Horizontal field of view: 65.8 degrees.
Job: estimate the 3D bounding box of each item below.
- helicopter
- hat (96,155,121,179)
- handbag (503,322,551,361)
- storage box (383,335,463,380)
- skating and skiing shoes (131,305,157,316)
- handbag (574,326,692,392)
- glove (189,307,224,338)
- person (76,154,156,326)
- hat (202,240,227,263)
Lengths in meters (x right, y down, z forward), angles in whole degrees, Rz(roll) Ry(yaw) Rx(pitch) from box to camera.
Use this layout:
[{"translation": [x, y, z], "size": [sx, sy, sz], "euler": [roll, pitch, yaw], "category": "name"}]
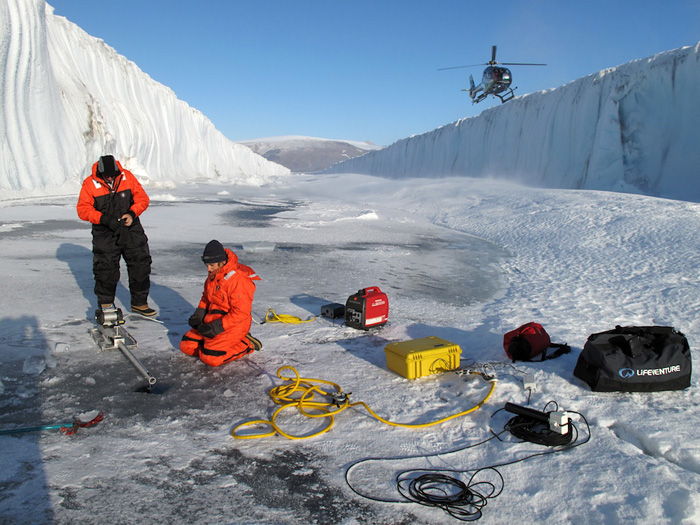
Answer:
[{"translation": [4.438, -5.794, 17.363], "size": [3.255, 0.922, 3.147], "euler": [-2, 4, -9], "category": "helicopter"}, {"translation": [-2.554, -0.995, 5.693], "size": [0.230, 0.243, 0.291], "euler": [-3, 12, -19], "category": "hat"}, {"translation": [1.719, 0.763, 5.165], "size": [0.465, 0.323, 0.269], "euler": [2, 12, 1], "category": "handbag"}, {"translation": [0.586, 0.808, 4.947], "size": [0.657, 0.187, 0.423], "euler": [-4, 6, -25], "category": "storage box"}, {"translation": [-2.375, 0.539, 6.116], "size": [0.354, 0.095, 0.114], "euler": [5, 11, 13], "category": "skating and skiing shoes"}, {"translation": [2.412, 0.830, 4.529], "size": [0.980, 0.230, 0.536], "euler": [-7, 20, 8], "category": "handbag"}, {"translation": [-1.350, 0.567, 5.028], "size": [0.278, 0.120, 0.345], "euler": [15, 8, -39], "category": "glove"}, {"translation": [-2.503, -0.260, 5.849], "size": [0.755, 1.745, 0.556], "euler": [-8, 17, -35], "category": "person"}, {"translation": [-1.256, -0.082, 5.106], "size": [0.248, 0.166, 0.252], "euler": [-2, -10, -13], "category": "hat"}]
